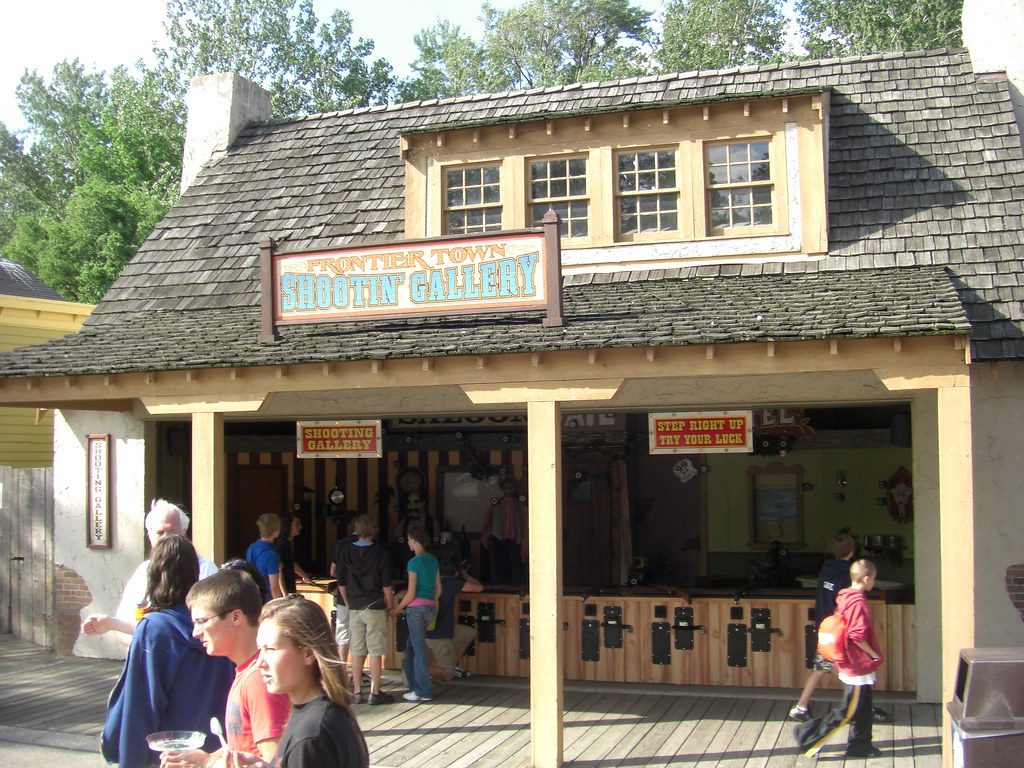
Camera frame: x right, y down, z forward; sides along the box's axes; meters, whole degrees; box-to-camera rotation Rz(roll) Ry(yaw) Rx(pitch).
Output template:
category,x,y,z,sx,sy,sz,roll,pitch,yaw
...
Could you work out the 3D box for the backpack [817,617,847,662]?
category,x,y,z,sx,sy,sz,roll,pitch,yaw
backpack,3.281,2.636,11.822,0.175,0.542,0.307,-2,8,-13
